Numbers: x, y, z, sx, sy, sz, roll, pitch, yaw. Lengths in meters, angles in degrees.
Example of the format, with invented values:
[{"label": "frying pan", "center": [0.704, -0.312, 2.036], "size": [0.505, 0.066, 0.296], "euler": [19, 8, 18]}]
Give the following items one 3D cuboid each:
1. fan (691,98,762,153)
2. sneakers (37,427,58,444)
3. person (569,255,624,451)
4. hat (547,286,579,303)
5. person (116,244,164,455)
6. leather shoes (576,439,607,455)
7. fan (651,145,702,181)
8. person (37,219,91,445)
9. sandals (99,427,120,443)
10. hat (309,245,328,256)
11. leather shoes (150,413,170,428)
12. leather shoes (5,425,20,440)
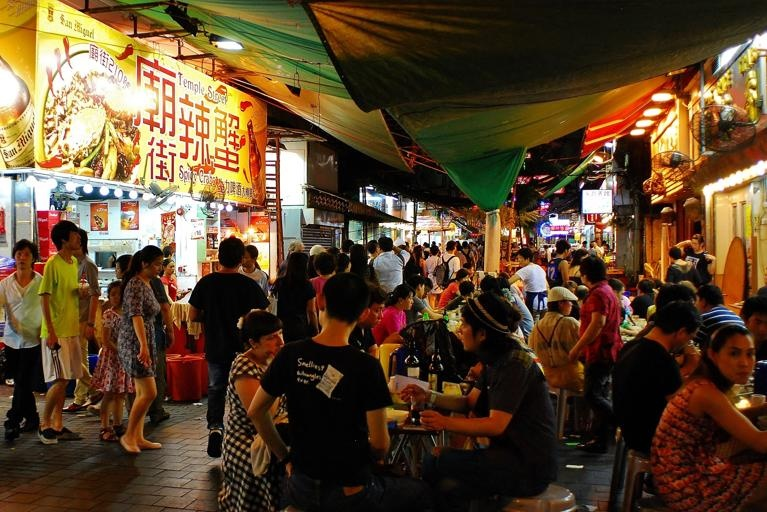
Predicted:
[{"label": "fan", "center": [4.846, -1.811, 8.565], "size": [0.284, 0.662, 0.670], "euler": [-5, 9, -39]}, {"label": "sneakers", "center": [-4.146, 2.220, 7.449], "size": [0.209, 0.190, 0.218], "euler": [-3, 8, -28]}, {"label": "person", "center": [2.546, 1.255, 7.279], "size": [0.564, 2.404, 0.934], "euler": [3, 7, 21]}, {"label": "hat", "center": [2.276, 0.508, 7.693], "size": [0.289, 0.157, 0.204], "euler": [-6, 5, -1]}, {"label": "person", "center": [-2.935, 1.128, 7.262], "size": [0.520, 2.437, 0.572], "euler": [-2, 7, -16]}, {"label": "leather shoes", "center": [2.578, 2.343, 7.441], "size": [0.386, 0.238, 0.133], "euler": [4, -9, 24]}, {"label": "fan", "center": [5.654, -1.805, 11.856], "size": [0.634, 0.281, 0.641], "euler": [15, -13, 20]}, {"label": "person", "center": [-4.066, 0.951, 7.554], "size": [0.606, 2.708, 0.558], "euler": [-5, 9, -37]}, {"label": "sandals", "center": [-3.423, 2.241, 7.517], "size": [0.303, 0.129, 0.123], "euler": [-4, -4, 35]}, {"label": "hat", "center": [-1.281, -0.089, 11.513], "size": [0.214, 0.234, 0.177], "euler": [11, 15, -20]}, {"label": "leather shoes", "center": [-3.052, 2.236, 8.233], "size": [0.091, 0.195, 0.281], "euler": [12, 14, 20]}, {"label": "leather shoes", "center": [-4.706, 2.241, 7.639], "size": [0.153, 0.190, 0.197], "euler": [1, -4, 4]}]
